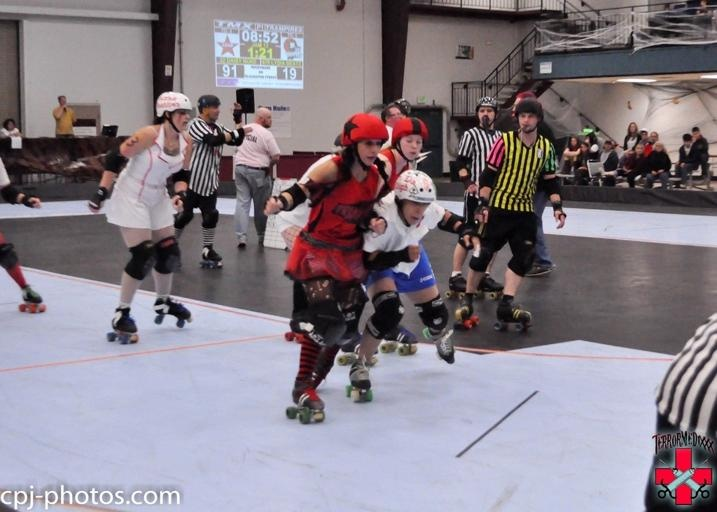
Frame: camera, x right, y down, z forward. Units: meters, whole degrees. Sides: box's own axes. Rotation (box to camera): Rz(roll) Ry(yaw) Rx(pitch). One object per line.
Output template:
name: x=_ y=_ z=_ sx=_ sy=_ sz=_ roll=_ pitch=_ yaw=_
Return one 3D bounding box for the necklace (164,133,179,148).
necklace: x=-1.415 y=-0.868 z=4.639 sx=0.114 sy=0.113 sz=0.023 roll=-10 pitch=13 yaw=-44

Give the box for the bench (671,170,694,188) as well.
bench: x=7.953 y=-1.881 z=15.232 sx=0.348 sy=0.202 sz=0.565 roll=-6 pitch=15 yaw=-2

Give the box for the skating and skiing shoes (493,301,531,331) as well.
skating and skiing shoes: x=1.221 y=0.473 z=4.912 sx=0.283 sy=0.305 sz=0.187 roll=-2 pitch=1 yaw=20

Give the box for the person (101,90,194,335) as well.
person: x=-1.601 y=-0.304 z=4.734 sx=0.611 sy=1.886 sz=0.754 roll=17 pitch=16 yaw=35

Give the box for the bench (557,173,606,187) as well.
bench: x=6.060 y=-2.046 z=16.759 sx=1.202 sy=0.504 sz=0.409 roll=-5 pitch=3 yaw=11

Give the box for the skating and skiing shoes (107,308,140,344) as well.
skating and skiing shoes: x=-1.799 y=0.523 z=4.715 sx=0.146 sy=0.294 sz=0.382 roll=4 pitch=-4 yaw=-40

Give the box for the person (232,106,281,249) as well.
person: x=-1.633 y=-1.290 z=9.559 sx=0.770 sy=2.711 sz=0.753 roll=-8 pitch=18 yaw=-38

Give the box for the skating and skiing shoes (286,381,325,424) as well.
skating and skiing shoes: x=-0.295 y=0.812 z=3.394 sx=0.170 sy=0.170 sz=0.328 roll=5 pitch=-3 yaw=-29

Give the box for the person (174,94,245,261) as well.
person: x=-1.912 y=-1.053 z=7.841 sx=0.761 sy=2.636 sz=0.743 roll=-5 pitch=16 yaw=-28

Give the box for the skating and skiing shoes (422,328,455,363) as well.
skating and skiing shoes: x=0.543 y=0.612 z=4.199 sx=0.080 sy=0.249 sz=0.109 roll=-23 pitch=9 yaw=-13

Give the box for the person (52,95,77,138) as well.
person: x=-8.176 y=-3.873 z=17.098 sx=0.532 sy=1.111 sz=1.141 roll=-5 pitch=11 yaw=-26
